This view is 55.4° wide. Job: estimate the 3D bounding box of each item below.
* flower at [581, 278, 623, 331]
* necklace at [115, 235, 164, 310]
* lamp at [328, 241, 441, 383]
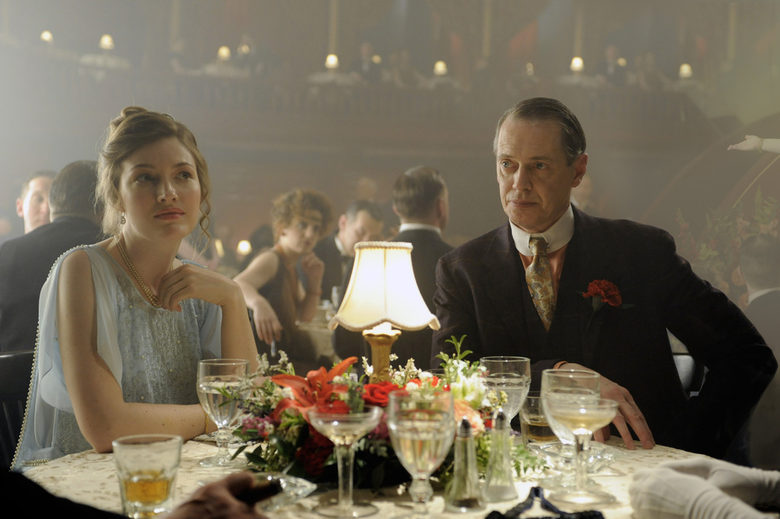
[{"bbox_3d":[1.303,0.302,4.648,0.274,0.280,0.258,11,-20,-28],"label":"flower"},{"bbox_3d":[-1.336,0.077,3.917,0.088,0.353,0.281,-33,-15,20],"label":"necklace"},{"bbox_3d":[-0.033,0.298,3.648,0.535,0.793,0.582,-7,-11,26],"label":"lamp"}]
